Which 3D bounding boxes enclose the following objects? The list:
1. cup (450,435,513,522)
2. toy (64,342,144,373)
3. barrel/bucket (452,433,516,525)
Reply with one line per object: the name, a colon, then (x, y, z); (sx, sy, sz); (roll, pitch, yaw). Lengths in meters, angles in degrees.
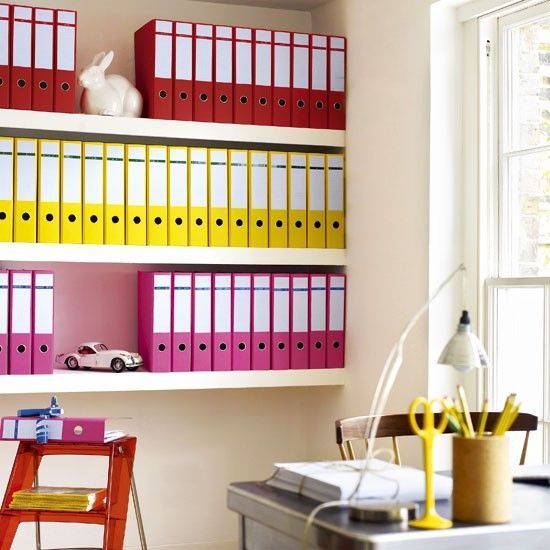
cup: (0.314, 0.300, 1.105); (0.083, 0.134, 0.112); (-1, 6, 15)
toy: (-0.632, 0.306, 2.625); (0.207, 0.090, 0.128); (0, 1, 7)
barrel/bucket: (0.314, 0.300, 1.101); (0.081, 0.131, 0.109); (-3, 3, 13)
